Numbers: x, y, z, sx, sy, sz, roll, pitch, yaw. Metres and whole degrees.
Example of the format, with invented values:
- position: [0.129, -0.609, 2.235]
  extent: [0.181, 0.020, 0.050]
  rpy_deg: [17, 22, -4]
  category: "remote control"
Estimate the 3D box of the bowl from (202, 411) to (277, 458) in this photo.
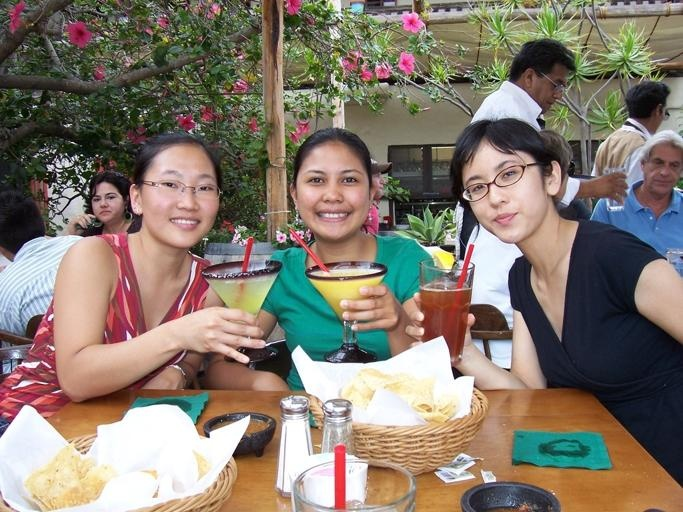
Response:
- position: [-0.280, 0.525, 1.579]
  extent: [0.185, 0.067, 0.171]
  rpy_deg: [-1, 6, 0]
  category: "bowl"

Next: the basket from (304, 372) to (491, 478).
- position: [0.117, 0.529, 1.585]
  extent: [0.519, 0.175, 0.508]
  rpy_deg: [4, -7, 15]
  category: "basket"

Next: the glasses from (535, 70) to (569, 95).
- position: [1.596, -1.307, 4.008]
  extent: [0.163, 0.052, 0.155]
  rpy_deg: [-4, 53, -44]
  category: "glasses"

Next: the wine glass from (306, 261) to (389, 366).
- position: [0.012, 0.199, 1.960]
  extent: [0.383, 0.390, 0.353]
  rpy_deg: [-2, 2, -2]
  category: "wine glass"

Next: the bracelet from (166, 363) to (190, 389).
- position: [-0.667, 0.501, 2.212]
  extent: [0.111, 0.042, 0.093]
  rpy_deg: [33, 30, -7]
  category: "bracelet"

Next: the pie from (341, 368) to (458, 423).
- position: [0.182, 0.380, 1.495]
  extent: [0.195, 0.072, 0.166]
  rpy_deg: [-3, -4, 30]
  category: "pie"

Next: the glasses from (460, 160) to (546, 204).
- position: [0.614, -0.280, 2.032]
  extent: [0.268, 0.151, 0.074]
  rpy_deg: [1, 18, 15]
  category: "glasses"

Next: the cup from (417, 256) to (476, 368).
- position: [0.331, 0.202, 1.801]
  extent: [0.182, 0.351, 0.222]
  rpy_deg: [7, 20, 32]
  category: "cup"

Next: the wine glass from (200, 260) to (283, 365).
- position: [-0.290, 0.191, 1.980]
  extent: [0.390, 0.398, 0.361]
  rpy_deg: [-4, 2, -1]
  category: "wine glass"
